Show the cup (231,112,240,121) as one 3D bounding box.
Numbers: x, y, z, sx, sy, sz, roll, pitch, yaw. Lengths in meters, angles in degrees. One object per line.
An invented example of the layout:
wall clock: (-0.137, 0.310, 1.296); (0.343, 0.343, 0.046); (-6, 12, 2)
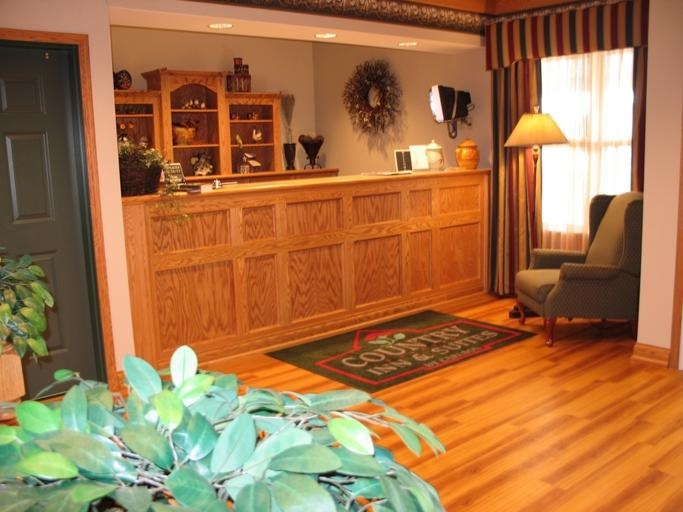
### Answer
cup: (-1.635, -2.155, 7.507); (0.127, 0.110, 0.124); (0, 4, 0)

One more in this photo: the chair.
chair: (2.293, 0.041, 4.583); (1.236, 1.169, 1.170); (-8, 10, -32)

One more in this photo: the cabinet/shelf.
cabinet/shelf: (-1.677, -1.847, 6.836); (2.422, 1.720, 0.470); (-8, 9, -37)

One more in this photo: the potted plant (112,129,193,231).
potted plant: (-1.578, -0.650, 4.087); (0.830, 0.574, 0.613); (-5, 10, -42)

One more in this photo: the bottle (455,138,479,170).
bottle: (1.541, -1.214, 5.787); (0.319, 0.349, 0.226); (-4, 10, -11)

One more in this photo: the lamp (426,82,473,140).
lamp: (1.335, -1.703, 5.861); (0.492, 0.570, 0.344); (-8, 7, -12)

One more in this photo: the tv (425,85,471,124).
tv: (1.322, -1.824, 5.881); (0.528, 0.371, 0.414); (-7, 8, -10)
